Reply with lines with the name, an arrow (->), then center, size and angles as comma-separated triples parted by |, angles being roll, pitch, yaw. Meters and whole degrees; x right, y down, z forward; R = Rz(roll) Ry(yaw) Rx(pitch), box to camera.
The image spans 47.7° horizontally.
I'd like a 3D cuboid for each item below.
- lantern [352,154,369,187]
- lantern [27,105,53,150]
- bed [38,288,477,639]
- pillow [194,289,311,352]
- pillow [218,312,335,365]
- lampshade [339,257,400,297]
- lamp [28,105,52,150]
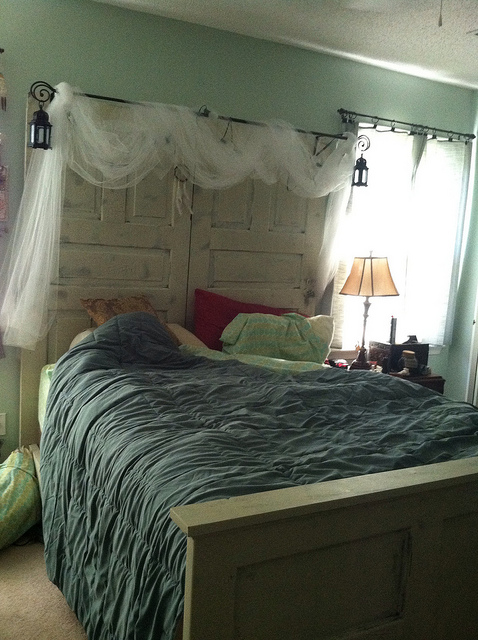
lantern -> 0.784, -0.967, 3.530 | 0.096, 0.201, 0.226 | 5, 7, 10
lantern -> -0.956, -0.919, 2.585 | 0.123, 0.195, 0.101 | -5, 18, -36
bed -> -0.151, 0.326, 1.988 | 1.287, 0.662, 1.754 | -1, 4, -22
pillow -> -0.002, -0.036, 3.264 | 0.458, 0.383, 0.125 | 0, -28, -10
pillow -> 0.207, 0.095, 3.106 | 0.456, 0.139, 0.367 | 8, 33, 1
lampshade -> 0.838, -0.274, 3.512 | 0.311, 0.202, 0.294 | 0, 4, -13
lamp -> -0.963, -0.934, 2.624 | 0.096, 0.210, 0.182 | 2, 7, -20
